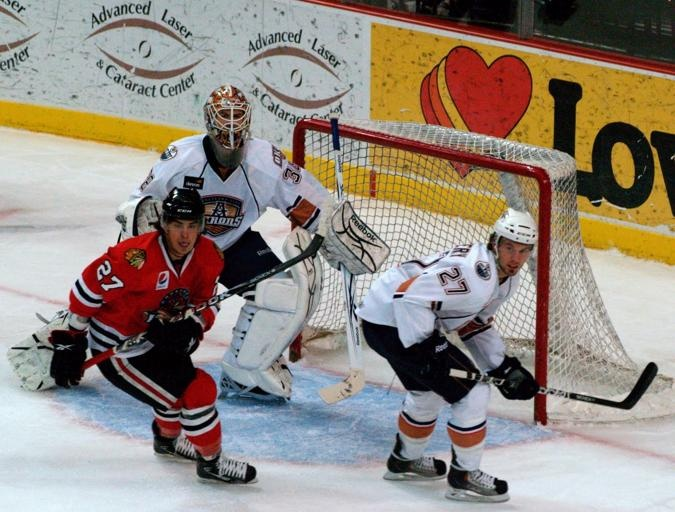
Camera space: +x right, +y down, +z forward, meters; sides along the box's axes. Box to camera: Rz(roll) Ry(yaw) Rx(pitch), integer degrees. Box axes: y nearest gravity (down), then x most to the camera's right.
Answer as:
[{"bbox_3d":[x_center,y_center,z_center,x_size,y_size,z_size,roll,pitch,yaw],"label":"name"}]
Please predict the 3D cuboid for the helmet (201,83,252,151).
[{"bbox_3d":[-0.520,-0.675,4.320,0.249,0.268,0.327,-1,12,-12],"label":"helmet"}]

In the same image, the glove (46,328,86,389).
[{"bbox_3d":[-1.066,0.399,3.529,0.190,0.205,0.095,1,-6,-11],"label":"glove"}]

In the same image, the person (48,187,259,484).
[{"bbox_3d":[-0.697,0.300,3.613,0.867,1.151,0.325,9,11,-3],"label":"person"}]

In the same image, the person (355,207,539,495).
[{"bbox_3d":[0.446,0.378,3.723,0.806,1.182,0.439,11,10,10],"label":"person"}]

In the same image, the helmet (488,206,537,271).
[{"bbox_3d":[0.717,-0.092,3.704,0.187,0.191,0.217,14,5,-17],"label":"helmet"}]

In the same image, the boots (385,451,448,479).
[{"bbox_3d":[0.331,0.898,3.855,0.299,0.113,0.098,-1,5,-8],"label":"boots"}]

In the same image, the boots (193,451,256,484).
[{"bbox_3d":[-0.442,0.851,3.633,0.279,0.104,0.098,1,5,0],"label":"boots"}]

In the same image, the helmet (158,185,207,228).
[{"bbox_3d":[-0.598,-0.192,3.492,0.143,0.141,0.161,0,29,-6],"label":"helmet"}]

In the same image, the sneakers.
[{"bbox_3d":[-0.393,0.602,4.374,0.314,0.108,0.213,2,-5,7],"label":"sneakers"}]

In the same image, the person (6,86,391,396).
[{"bbox_3d":[-0.461,0.014,4.251,1.397,1.445,1.202,12,20,22],"label":"person"}]

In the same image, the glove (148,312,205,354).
[{"bbox_3d":[-0.647,0.313,3.591,0.229,0.149,0.153,6,10,-14],"label":"glove"}]
